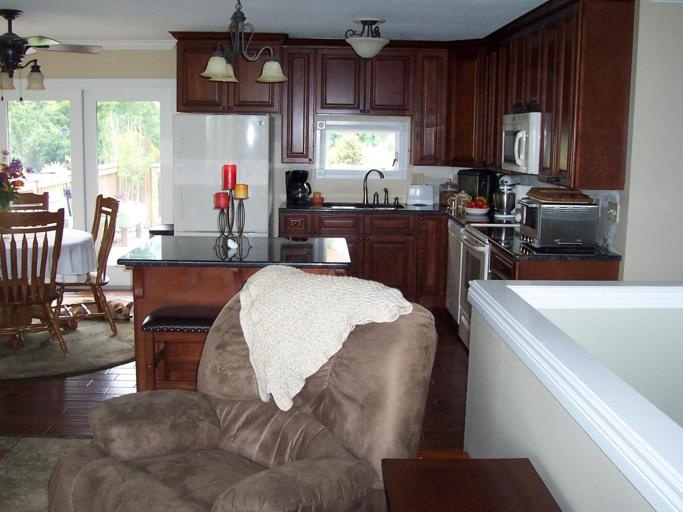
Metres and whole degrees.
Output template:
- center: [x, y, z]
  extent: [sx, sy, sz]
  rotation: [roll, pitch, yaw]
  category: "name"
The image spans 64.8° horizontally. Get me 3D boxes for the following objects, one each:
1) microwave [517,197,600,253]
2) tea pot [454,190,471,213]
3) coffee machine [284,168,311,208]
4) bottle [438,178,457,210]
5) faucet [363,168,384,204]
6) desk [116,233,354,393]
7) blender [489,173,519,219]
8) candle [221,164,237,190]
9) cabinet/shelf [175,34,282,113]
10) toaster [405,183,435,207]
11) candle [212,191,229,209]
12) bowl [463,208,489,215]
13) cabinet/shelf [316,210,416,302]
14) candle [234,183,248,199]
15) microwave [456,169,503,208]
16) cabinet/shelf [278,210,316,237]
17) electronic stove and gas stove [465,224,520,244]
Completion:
- center: [1.514, -0.215, 3.715]
  extent: [0.367, 0.265, 0.516]
  rotation: [1, 10, 6]
  category: "microwave"
- center: [1.230, -0.559, 5.502]
  extent: [0.183, 0.252, 0.235]
  rotation: [0, 4, -4]
  category: "tea pot"
- center: [-0.467, -0.725, 5.784]
  extent: [0.402, 0.492, 0.314]
  rotation: [-2, 11, -7]
  category: "coffee machine"
- center: [1.156, -0.697, 5.955]
  extent: [0.209, 0.355, 0.357]
  rotation: [4, 14, 17]
  category: "bottle"
- center: [0.356, -0.777, 6.010]
  extent: [0.245, 0.392, 0.490]
  rotation: [0, 9, 4]
  category: "faucet"
- center: [-0.676, 0.255, 3.613]
  extent: [1.433, 1.157, 0.957]
  rotation: [0, 5, 0]
  category: "desk"
- center: [1.518, -0.571, 4.998]
  extent: [0.256, 0.408, 0.213]
  rotation: [-13, 14, -41]
  category: "blender"
- center: [-0.753, -0.530, 3.616]
  extent: [0.082, 0.175, 0.144]
  rotation: [-3, 10, -17]
  category: "candle"
- center: [-1.086, -1.718, 4.992]
  extent: [1.200, 0.829, 0.423]
  rotation: [0, 7, -1]
  category: "cabinet/shelf"
- center: [0.887, -0.698, 6.101]
  extent: [0.266, 0.199, 0.264]
  rotation: [-1, 19, -1]
  category: "toaster"
- center: [-0.781, -0.366, 3.536]
  extent: [0.106, 0.108, 0.065]
  rotation: [-6, 11, -30]
  category: "candle"
- center: [1.284, -0.430, 5.145]
  extent: [0.218, 0.083, 0.221]
  rotation: [0, 9, 0]
  category: "bowl"
- center: [0.364, -0.108, 5.936]
  extent: [1.320, 1.236, 0.742]
  rotation: [0, 2, 0]
  category: "cabinet/shelf"
- center: [-0.676, -0.447, 3.651]
  extent: [0.102, 0.093, 0.098]
  rotation: [-5, 13, -32]
  category: "candle"
- center: [1.582, -0.702, 5.664]
  extent: [0.356, 0.433, 0.626]
  rotation: [1, 5, -23]
  category: "microwave"
- center: [-0.483, -0.341, 5.447]
  extent: [0.325, 0.232, 0.319]
  rotation: [0, 4, 1]
  category: "cabinet/shelf"
- center: [1.254, -0.197, 4.394]
  extent: [0.213, 0.074, 0.311]
  rotation: [-3, 15, -7]
  category: "electronic stove and gas stove"
